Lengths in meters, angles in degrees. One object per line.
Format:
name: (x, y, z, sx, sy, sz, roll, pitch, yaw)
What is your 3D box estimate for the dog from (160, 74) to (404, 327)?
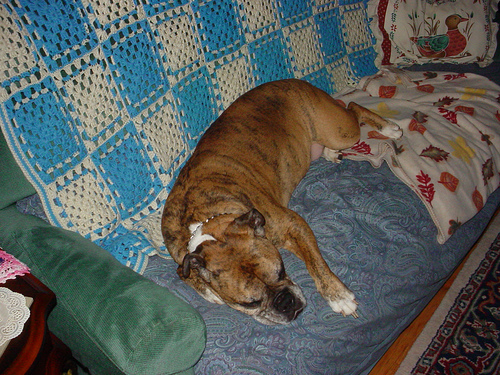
dog: (0.334, 0.185, 3.886, 1.499, 0.746, 2.075, 13, 57, 28)
